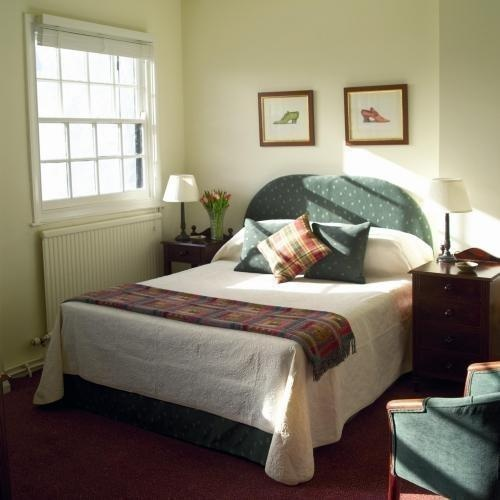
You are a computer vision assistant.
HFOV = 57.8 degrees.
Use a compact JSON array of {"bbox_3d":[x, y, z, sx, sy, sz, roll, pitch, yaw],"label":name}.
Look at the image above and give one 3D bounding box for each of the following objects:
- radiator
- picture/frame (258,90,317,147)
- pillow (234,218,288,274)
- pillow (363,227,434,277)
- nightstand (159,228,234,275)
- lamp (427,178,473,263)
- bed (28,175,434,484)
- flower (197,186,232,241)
[{"bbox_3d":[-1.233,0.208,3.487,0.041,0.740,1.004,3,9,29],"label":"radiator"},{"bbox_3d":[0.369,-1.255,4.265,0.538,0.496,0.043,3,8,34],"label":"picture/frame"},{"bbox_3d":[0.142,0.005,3.823,0.131,0.434,0.432,24,-5,-30],"label":"pillow"},{"bbox_3d":[1.109,-0.011,3.592,0.563,0.235,0.563,-8,25,-15],"label":"pillow"},{"bbox_3d":[-0.491,-0.085,4.540,0.486,0.717,0.539,4,8,29],"label":"nightstand"},{"bbox_3d":[1.437,-0.216,3.305,0.417,0.581,0.432,3,10,36],"label":"lamp"},{"bbox_3d":[0.114,0.243,3.470,2.114,1.549,2.554,6,11,38],"label":"bed"},{"bbox_3d":[-0.379,-0.352,4.559,0.314,0.463,0.307,-4,8,-29],"label":"flower"}]
